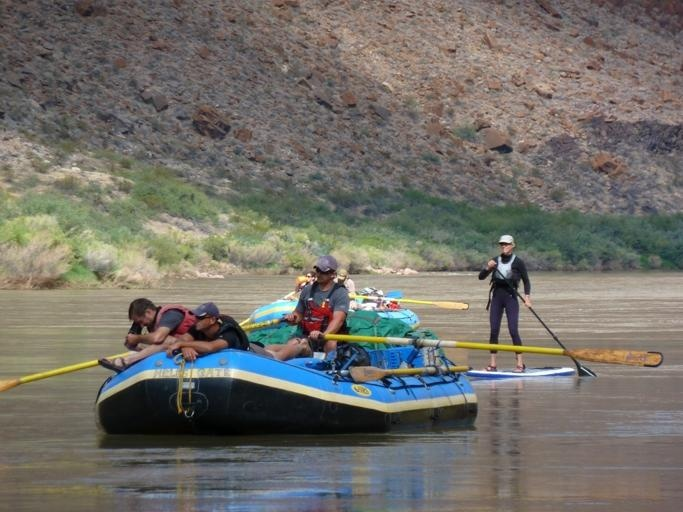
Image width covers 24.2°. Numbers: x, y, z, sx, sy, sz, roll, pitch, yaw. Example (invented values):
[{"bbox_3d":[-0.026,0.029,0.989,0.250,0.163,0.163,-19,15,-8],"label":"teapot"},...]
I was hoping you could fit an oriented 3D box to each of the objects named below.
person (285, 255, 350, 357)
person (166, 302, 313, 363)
[{"bbox_3d":[-0.590,1.530,46.636,1.179,3.158,1.317,0,0,19],"label":"person"},{"bbox_3d":[-3.557,2.285,45.376,2.396,0.952,1.313,18,-30,-41],"label":"person"}]
